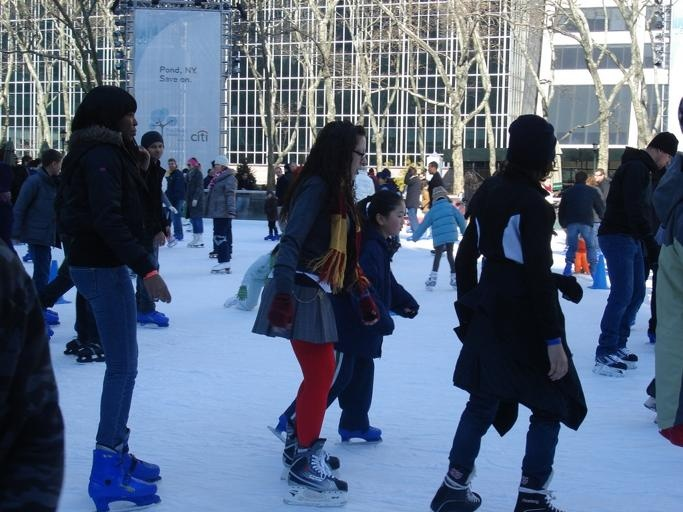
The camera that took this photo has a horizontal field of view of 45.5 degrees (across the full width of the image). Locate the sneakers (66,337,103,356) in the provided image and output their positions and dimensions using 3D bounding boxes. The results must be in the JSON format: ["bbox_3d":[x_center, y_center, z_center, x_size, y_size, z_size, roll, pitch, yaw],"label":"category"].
[{"bbox_3d":[-2.520,0.892,7.887,0.401,0.189,0.169,-1,-1,5],"label":"sneakers"}]

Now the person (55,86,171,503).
[{"bbox_3d":[-1.376,0.238,4.947,0.550,2.499,0.579,-3,8,-29],"label":"person"}]

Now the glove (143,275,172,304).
[{"bbox_3d":[-1.093,0.215,4.878,0.128,0.195,0.076,1,36,5],"label":"glove"}]

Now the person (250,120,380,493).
[{"bbox_3d":[-0.140,0.330,5.031,0.833,2.291,0.458,-3,8,-31],"label":"person"}]

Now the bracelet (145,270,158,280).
[{"bbox_3d":[-1.122,0.120,4.821,0.050,0.024,0.059,-25,0,38],"label":"bracelet"}]

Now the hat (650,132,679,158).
[{"bbox_3d":[2.931,-0.996,7.432,0.231,0.206,0.220,16,0,17],"label":"hat"}]

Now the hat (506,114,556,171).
[{"bbox_3d":[1.137,-0.671,4.839,0.295,0.309,0.274,-2,-7,4],"label":"hat"}]

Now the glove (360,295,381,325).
[{"bbox_3d":[0.181,0.360,5.274,0.121,0.180,0.048,-7,-1,-5],"label":"glove"}]

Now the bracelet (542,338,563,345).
[{"bbox_3d":[1.205,0.488,4.569,0.046,0.038,0.046,-1,-2,-25],"label":"bracelet"}]

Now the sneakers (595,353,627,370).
[{"bbox_3d":[2.580,1.025,7.844,0.343,0.158,0.130,5,-5,10],"label":"sneakers"}]

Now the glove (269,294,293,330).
[{"bbox_3d":[-0.343,0.324,4.766,0.153,0.239,0.125,0,18,-9],"label":"glove"}]

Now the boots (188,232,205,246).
[{"bbox_3d":[-3.459,-0.330,19.180,0.449,0.468,0.217,0,1,2],"label":"boots"}]

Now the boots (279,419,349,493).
[{"bbox_3d":[-0.154,1.322,5.169,0.616,0.396,0.212,1,-3,24],"label":"boots"}]

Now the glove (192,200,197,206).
[{"bbox_3d":[-3.227,-1.127,17.919,0.116,0.131,0.124,-3,6,-12],"label":"glove"}]

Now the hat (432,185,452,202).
[{"bbox_3d":[1.635,-1.004,13.364,0.230,0.138,0.250,-9,9,33],"label":"hat"}]
